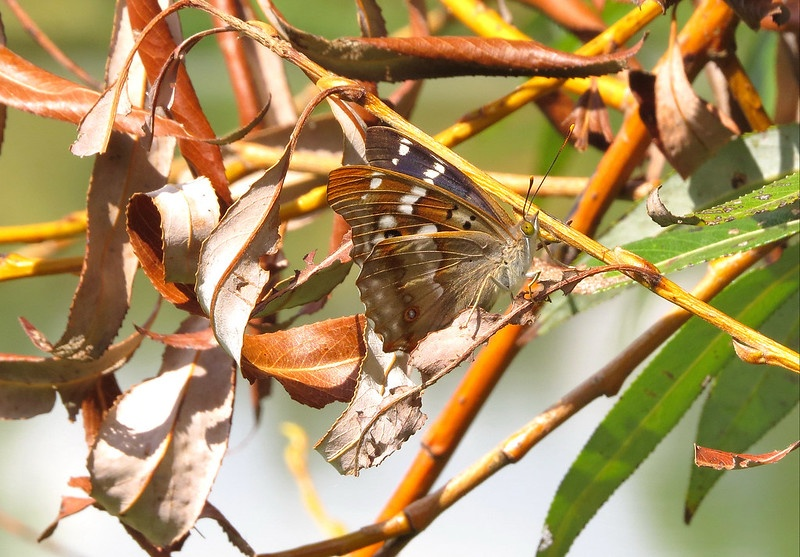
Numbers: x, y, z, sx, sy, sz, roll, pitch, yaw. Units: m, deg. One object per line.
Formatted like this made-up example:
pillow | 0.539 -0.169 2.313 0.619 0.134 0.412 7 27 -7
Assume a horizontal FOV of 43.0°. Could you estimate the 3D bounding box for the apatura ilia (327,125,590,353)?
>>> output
apatura ilia | 0.055 -0.042 0.988 0.245 0.195 0.216 -2 -80 19
